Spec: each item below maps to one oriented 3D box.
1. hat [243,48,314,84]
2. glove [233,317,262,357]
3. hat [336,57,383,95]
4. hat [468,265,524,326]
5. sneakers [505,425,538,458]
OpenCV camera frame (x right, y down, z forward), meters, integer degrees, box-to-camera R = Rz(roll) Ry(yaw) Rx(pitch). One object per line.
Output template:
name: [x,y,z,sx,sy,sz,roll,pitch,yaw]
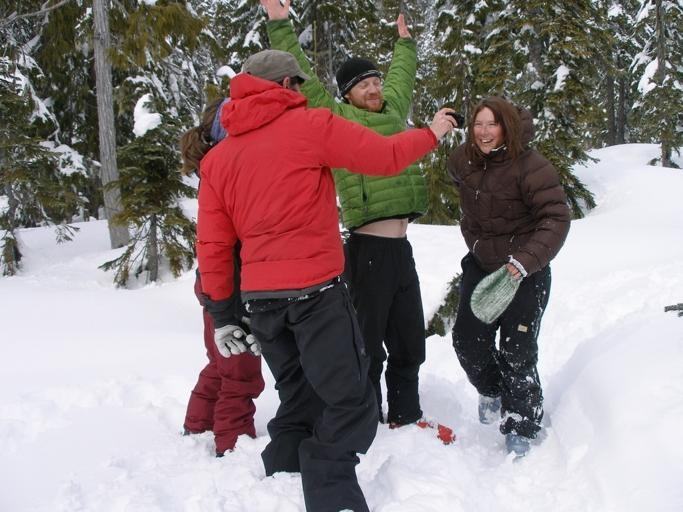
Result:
hat: [-0.632,-1.778,5.994,0.430,0.215,0.306,-9,20,-27]
glove: [-0.842,0.770,6.348,0.156,0.398,0.288,-25,1,-14]
hat: [0.189,-1.940,7.034,0.392,0.291,0.409,-32,19,10]
hat: [1.540,0.377,6.464,0.620,0.417,0.123,-51,-21,18]
sneakers: [1.836,1.917,6.614,0.221,0.239,0.210,-42,15,53]
